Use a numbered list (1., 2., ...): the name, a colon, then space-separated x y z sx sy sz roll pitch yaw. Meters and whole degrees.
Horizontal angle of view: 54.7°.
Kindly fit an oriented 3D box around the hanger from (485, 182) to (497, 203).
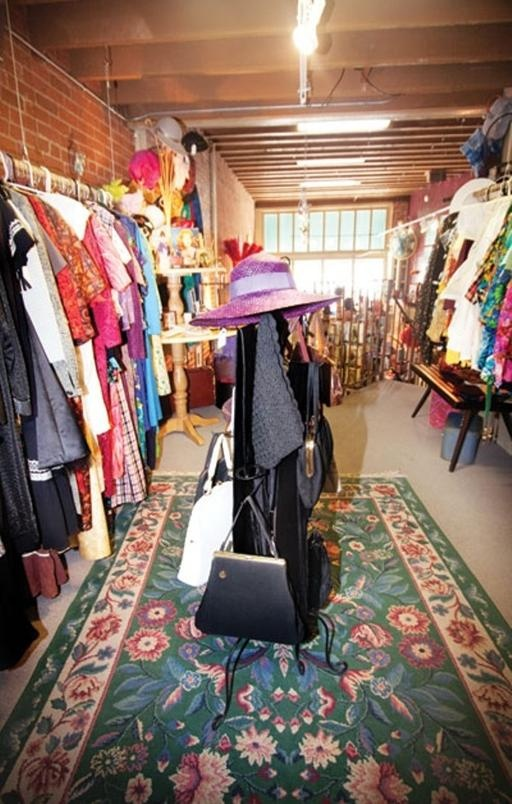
1. hanger: 1.158 -1.025 2.434 0.029 0.088 0.064 14 38 6

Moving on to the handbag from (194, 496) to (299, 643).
1. handbag: -0.030 0.530 1.464 0.318 0.158 0.442 6 48 -4

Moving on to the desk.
1. desk: -0.571 -0.149 3.697 0.618 0.759 0.639 8 7 22

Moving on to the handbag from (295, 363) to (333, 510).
1. handbag: 0.158 0.088 1.368 0.101 0.420 0.309 0 22 6

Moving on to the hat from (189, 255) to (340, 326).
1. hat: -0.001 -0.284 1.317 0.256 0.126 0.259 9 20 42

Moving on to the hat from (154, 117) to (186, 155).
1. hat: -0.527 -1.672 3.114 0.131 0.198 0.265 9 17 32
